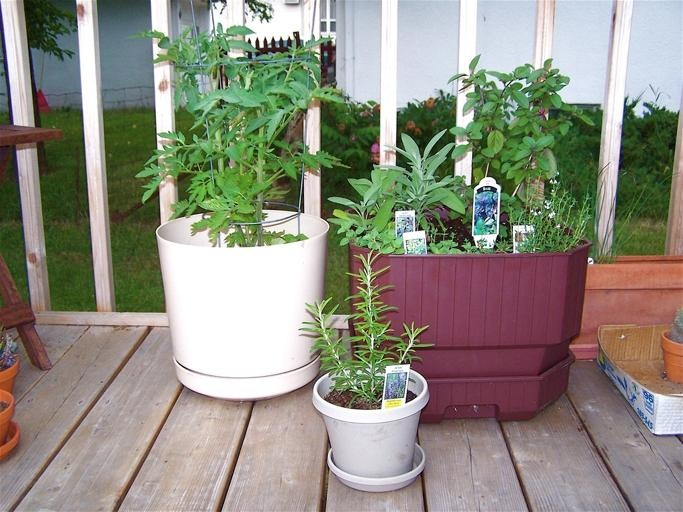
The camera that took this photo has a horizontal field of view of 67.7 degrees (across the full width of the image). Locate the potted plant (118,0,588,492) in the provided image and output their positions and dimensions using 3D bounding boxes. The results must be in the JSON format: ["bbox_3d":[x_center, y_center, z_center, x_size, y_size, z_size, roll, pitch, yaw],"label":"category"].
[{"bbox_3d":[-0.098,-0.056,1.888,1.809,1.109,1.108,2,15,10],"label":"potted plant"}]
